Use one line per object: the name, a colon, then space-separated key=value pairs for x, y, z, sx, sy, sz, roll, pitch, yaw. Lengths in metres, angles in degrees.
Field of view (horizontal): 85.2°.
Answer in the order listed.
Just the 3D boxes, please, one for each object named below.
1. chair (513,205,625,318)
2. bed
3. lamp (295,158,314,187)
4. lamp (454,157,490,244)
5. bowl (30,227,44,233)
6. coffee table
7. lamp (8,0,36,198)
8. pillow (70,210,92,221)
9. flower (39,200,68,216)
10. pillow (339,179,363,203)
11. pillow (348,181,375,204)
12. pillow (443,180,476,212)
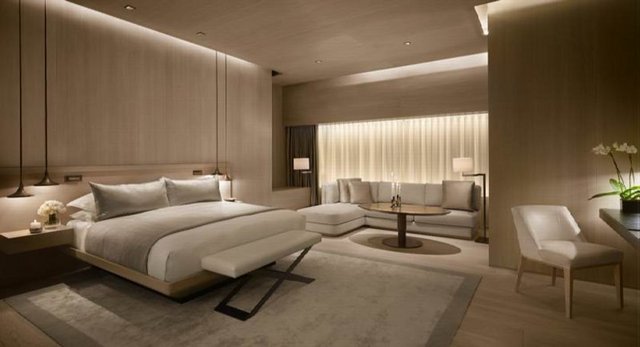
chair: x=3.724 y=1.270 z=5.321 sx=1.205 sy=1.538 sz=0.798 roll=-3 pitch=4 yaw=-13
bed: x=-2.541 y=0.890 z=5.749 sx=2.638 sy=0.983 sz=2.496 roll=0 pitch=0 yaw=34
lamp: x=-0.404 y=-0.189 z=9.598 sx=0.505 sy=0.587 sz=0.512 roll=-1 pitch=3 yaw=9
lamp: x=3.335 y=0.524 z=7.677 sx=0.663 sy=1.769 sz=1.370 roll=-1 pitch=4 yaw=24
bowl: x=-4.512 y=0.892 z=5.579 sx=0.126 sy=0.045 sz=0.118 roll=0 pitch=-3 yaw=0
coffee table: x=1.776 y=1.066 z=7.268 sx=1.690 sy=0.803 sz=0.780 roll=-1 pitch=4 yaw=19
lamp: x=-4.922 y=-1.296 z=5.755 sx=0.084 sy=3.130 sz=0.324 roll=-2 pitch=5 yaw=14
pillow: x=-4.023 y=0.723 z=5.937 sx=0.267 sy=0.070 sz=0.251 roll=8 pitch=7 yaw=8
flower: x=-4.355 y=0.559 z=5.677 sx=0.335 sy=0.209 sz=0.321 roll=-1 pitch=-1 yaw=-31
pillow: x=0.769 y=0.440 z=8.721 sx=0.632 sy=0.375 sz=0.217 roll=2 pitch=1 yaw=-45
pillow: x=1.023 y=0.445 z=8.644 sx=0.663 sy=0.513 sz=0.182 roll=-4 pitch=-18 yaw=-15
pillow: x=3.113 y=0.508 z=7.749 sx=0.675 sy=0.603 sz=0.256 roll=3 pitch=-15 yaw=39
